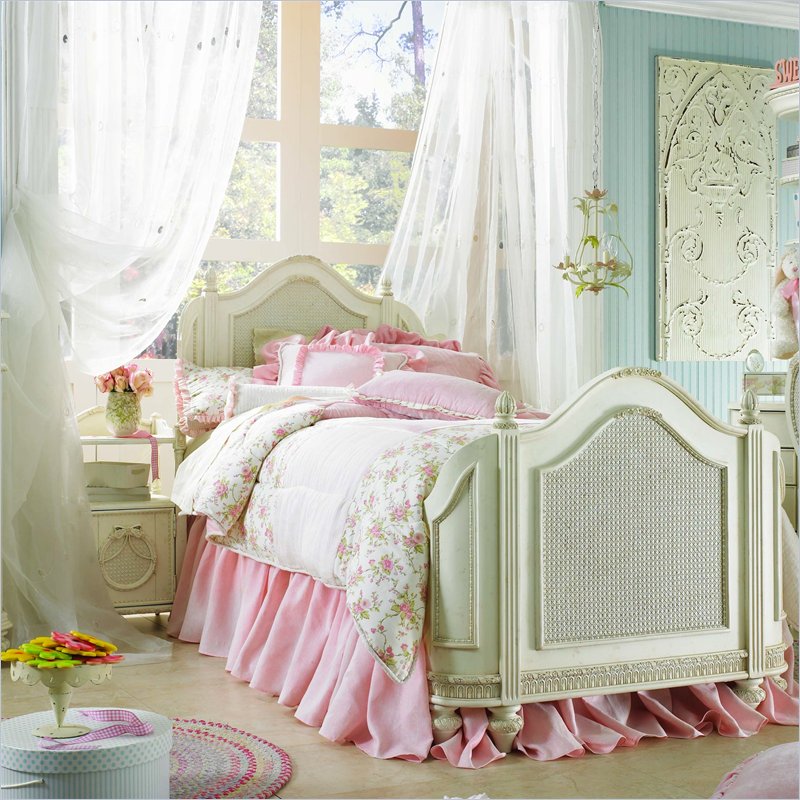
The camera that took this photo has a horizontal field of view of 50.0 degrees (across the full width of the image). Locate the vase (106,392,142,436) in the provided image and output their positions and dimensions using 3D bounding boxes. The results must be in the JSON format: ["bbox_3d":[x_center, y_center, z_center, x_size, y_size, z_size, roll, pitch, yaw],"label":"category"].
[{"bbox_3d":[-1.087,0.048,3.376,0.152,0.213,0.150,-2,6,-29],"label":"vase"}]

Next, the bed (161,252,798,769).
[{"bbox_3d":[0.021,0.190,2.830,1.251,1.236,1.852,0,1,-28],"label":"bed"}]

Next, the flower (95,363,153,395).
[{"bbox_3d":[-1.063,-0.088,3.402,0.129,0.079,0.149,-5,-4,8],"label":"flower"}]
